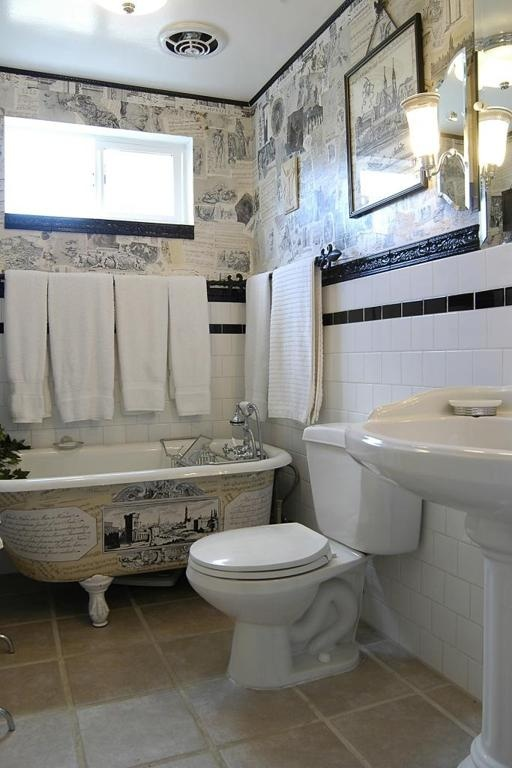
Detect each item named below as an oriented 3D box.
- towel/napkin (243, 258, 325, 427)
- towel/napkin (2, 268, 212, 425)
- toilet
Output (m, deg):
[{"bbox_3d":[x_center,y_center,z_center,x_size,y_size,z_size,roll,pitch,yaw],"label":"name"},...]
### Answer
[{"bbox_3d":[0.132,-0.185,2.615,0.108,0.765,0.824,0,2,-16],"label":"towel/napkin"},{"bbox_3d":[-0.791,-0.198,2.864,0.731,0.621,0.110,-2,1,-27],"label":"towel/napkin"},{"bbox_3d":[0.108,0.527,1.825,0.631,0.764,0.450,-1,2,-17],"label":"toilet"}]
